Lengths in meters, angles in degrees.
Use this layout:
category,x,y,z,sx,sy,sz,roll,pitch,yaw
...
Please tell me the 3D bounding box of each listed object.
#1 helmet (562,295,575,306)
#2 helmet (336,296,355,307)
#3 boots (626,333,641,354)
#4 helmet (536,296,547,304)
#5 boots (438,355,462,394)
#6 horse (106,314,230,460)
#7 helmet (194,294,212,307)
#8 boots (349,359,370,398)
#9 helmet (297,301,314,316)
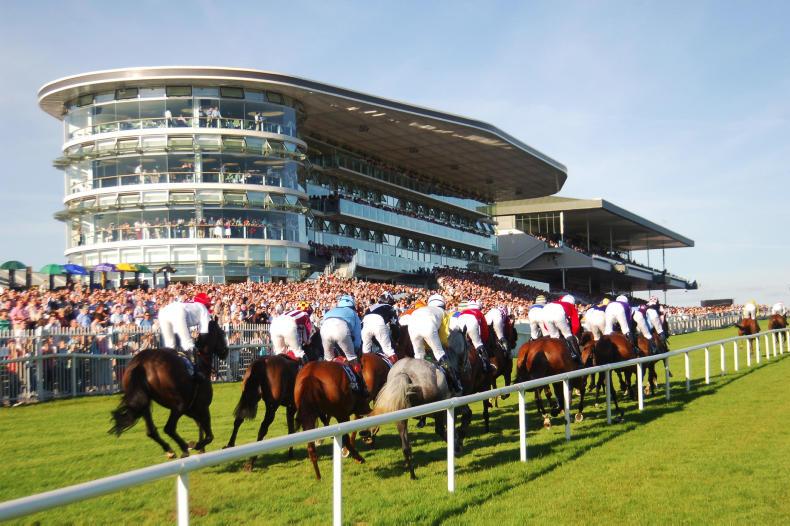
category,x,y,z,sx,sy,sz,roll,pitch,yaw
helmet,3.716,0.764,20.541,0.207,0.267,0.254,0,4,29
helmet,-0.911,0.666,16.989,0.244,0.186,0.232,-17,-2,10
boots,5.124,1.702,20.498,0.095,0.423,0.234,-25,18,-21
helmet,3.136,0.767,20.453,0.216,0.161,0.175,-26,-7,1
boots,0.915,1.890,16.487,0.206,0.687,0.388,-29,4,30
horse,-3.837,2.254,16.728,1.071,2.312,3.144,-8,-5,25
helmet,-3.486,0.664,17.068,0.210,0.261,0.245,11,22,15
boots,-0.647,1.943,16.191,0.138,0.560,0.308,-10,-3,-12
helmet,-1.844,0.951,19.046,0.332,0.448,0.204,4,8,17
